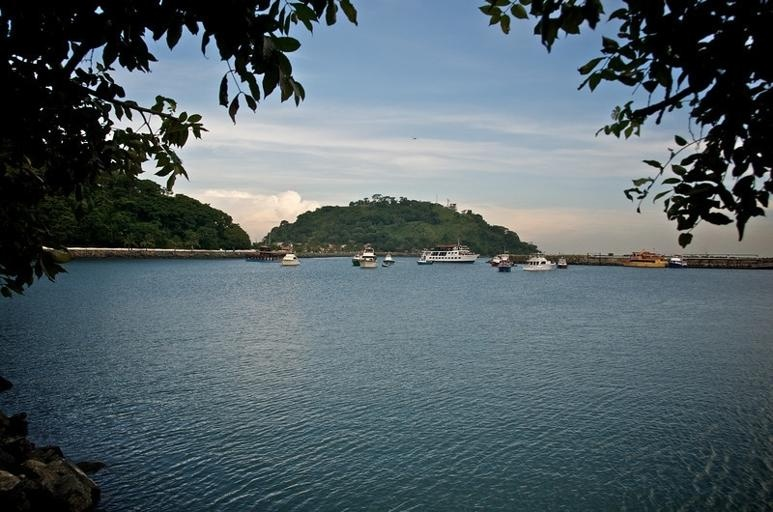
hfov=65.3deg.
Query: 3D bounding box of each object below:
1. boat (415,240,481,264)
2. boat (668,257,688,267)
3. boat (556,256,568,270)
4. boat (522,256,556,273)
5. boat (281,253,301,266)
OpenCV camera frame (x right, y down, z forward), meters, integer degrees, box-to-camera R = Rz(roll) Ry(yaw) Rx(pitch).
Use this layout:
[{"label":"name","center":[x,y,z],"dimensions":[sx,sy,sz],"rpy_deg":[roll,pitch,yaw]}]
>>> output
[{"label":"boat","center":[18.414,-0.392,177.632],"dimensions":[14.510,5.805,13.299],"rpy_deg":[1,3,11]},{"label":"boat","center":[72.849,1.570,150.404],"dimensions":[2.658,1.924,4.746],"rpy_deg":[7,10,42]},{"label":"boat","center":[46.164,1.678,157.499],"dimensions":[2.943,3.282,9.301],"rpy_deg":[-3,-6,13]},{"label":"boat","center":[35.138,1.720,138.512],"dimensions":[4.888,3.267,9.319],"rpy_deg":[2,4,25]},{"label":"boat","center":[-26.469,1.023,167.217],"dimensions":[3.590,3.308,8.905],"rpy_deg":[1,3,1]}]
